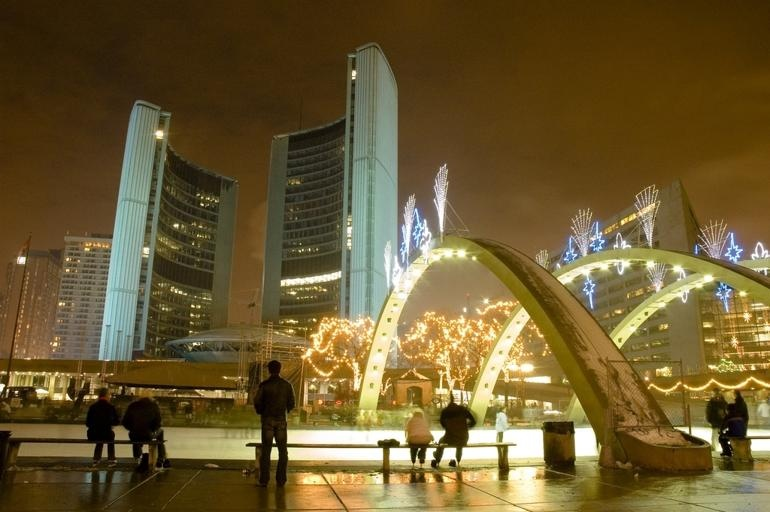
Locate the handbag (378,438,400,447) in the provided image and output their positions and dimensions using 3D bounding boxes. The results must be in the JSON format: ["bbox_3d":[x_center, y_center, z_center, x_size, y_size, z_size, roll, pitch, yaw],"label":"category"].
[{"bbox_3d":[0.089,5.417,16.778,0.476,0.227,0.729,-13,-22,40],"label":"handbag"}]

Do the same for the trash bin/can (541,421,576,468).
[{"bbox_3d":[5.298,5.682,17.538,0.894,1.297,0.920,-3,-17,14],"label":"trash bin/can"}]

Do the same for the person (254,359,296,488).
[{"bbox_3d":[-2.721,3.993,13.961,0.935,2.927,1.127,4,-17,-10],"label":"person"}]
